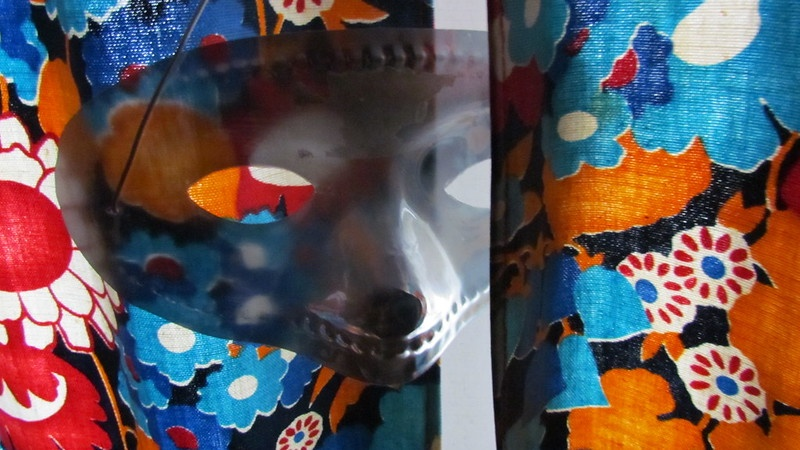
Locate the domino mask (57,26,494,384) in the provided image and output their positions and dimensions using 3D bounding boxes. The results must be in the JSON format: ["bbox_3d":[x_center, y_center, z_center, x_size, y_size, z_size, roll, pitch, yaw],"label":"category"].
[{"bbox_3d":[-0.049,-0.028,1.157,0.751,0.337,0.481,-5,105,-17],"label":"domino mask"}]
